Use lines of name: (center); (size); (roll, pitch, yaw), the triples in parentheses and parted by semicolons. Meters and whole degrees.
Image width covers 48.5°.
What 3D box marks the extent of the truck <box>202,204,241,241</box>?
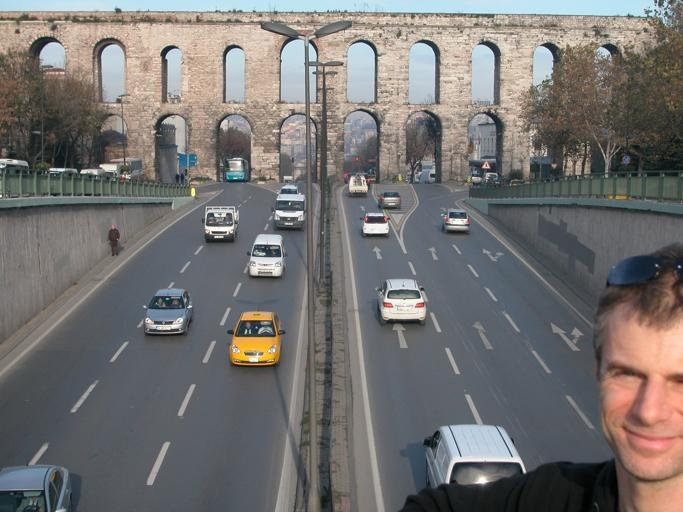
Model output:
truck: (-7.929, -2.124, 50.165); (2.357, 2.674, 5.380); (-1, 2, -4)

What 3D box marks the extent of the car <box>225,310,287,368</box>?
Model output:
car: (-3.319, 3.334, 29.631); (1.411, 1.153, 2.869); (0, 5, -2)

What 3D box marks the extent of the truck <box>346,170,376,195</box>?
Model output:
truck: (1.793, -6.983, 75.114); (2.863, 2.310, 5.304); (-2, 11, 0)

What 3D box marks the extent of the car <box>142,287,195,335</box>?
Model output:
car: (-7.281, 2.325, 32.614); (1.230, 1.127, 2.377); (0, 4, -3)

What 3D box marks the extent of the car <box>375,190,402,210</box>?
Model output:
car: (4.211, -4.720, 64.980); (1.585, 1.461, 2.099); (-4, 5, -9)

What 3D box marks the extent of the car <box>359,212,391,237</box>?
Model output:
car: (2.278, -2.126, 51.512); (1.097, 1.133, 2.130); (0, 14, -2)

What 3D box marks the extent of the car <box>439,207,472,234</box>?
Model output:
car: (8.086, -2.511, 53.460); (1.091, 1.201, 2.661); (1, 13, 2)

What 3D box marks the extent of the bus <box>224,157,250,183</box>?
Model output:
bus: (-12.949, -10.787, 94.438); (2.254, 3.085, 3.863); (-3, 5, 7)
